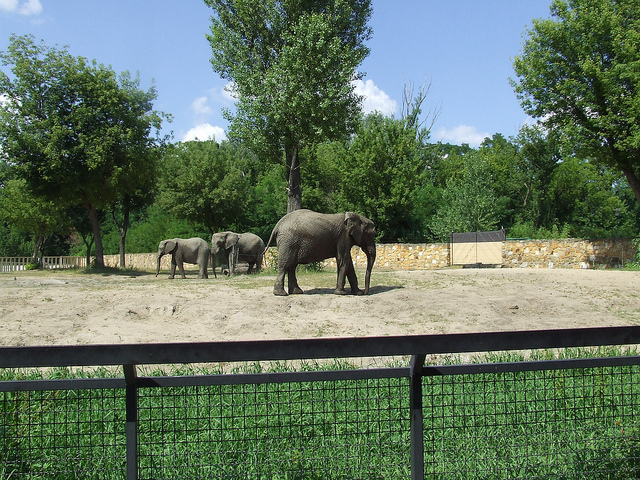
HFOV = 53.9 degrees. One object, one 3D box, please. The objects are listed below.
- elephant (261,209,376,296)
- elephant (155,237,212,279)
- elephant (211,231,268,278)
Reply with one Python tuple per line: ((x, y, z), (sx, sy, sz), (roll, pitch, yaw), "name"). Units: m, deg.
((0.064, 0.336, 18.646), (3.240, 2.766, 1.400), (1, 3, -10), "elephant")
((-6.098, 0.790, 28.716), (2.826, 1.831, 1.580), (-3, -3, 31), "elephant")
((-3.952, 0.727, 30.856), (3.113, 2.253, 1.146), (2, 0, -29), "elephant")
